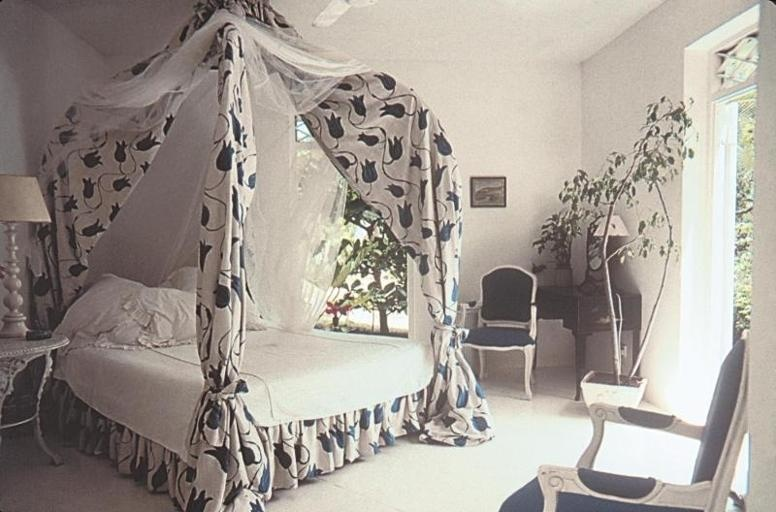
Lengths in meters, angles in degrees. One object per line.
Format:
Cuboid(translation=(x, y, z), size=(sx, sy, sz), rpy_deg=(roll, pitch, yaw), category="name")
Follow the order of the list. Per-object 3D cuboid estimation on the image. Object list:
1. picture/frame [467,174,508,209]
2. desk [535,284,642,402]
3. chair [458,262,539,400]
Cuboid(translation=(1.053, -0.699, 6.702), size=(0.358, 0.315, 0.027), rpy_deg=(1, -1, -7), category="picture/frame")
Cuboid(translation=(2.208, 0.779, 6.135), size=(0.605, 0.820, 1.008), rpy_deg=(-10, -6, 27), category="desk")
Cuboid(translation=(1.096, 0.714, 6.204), size=(0.883, 1.251, 0.905), rpy_deg=(1, 0, -3), category="chair")
